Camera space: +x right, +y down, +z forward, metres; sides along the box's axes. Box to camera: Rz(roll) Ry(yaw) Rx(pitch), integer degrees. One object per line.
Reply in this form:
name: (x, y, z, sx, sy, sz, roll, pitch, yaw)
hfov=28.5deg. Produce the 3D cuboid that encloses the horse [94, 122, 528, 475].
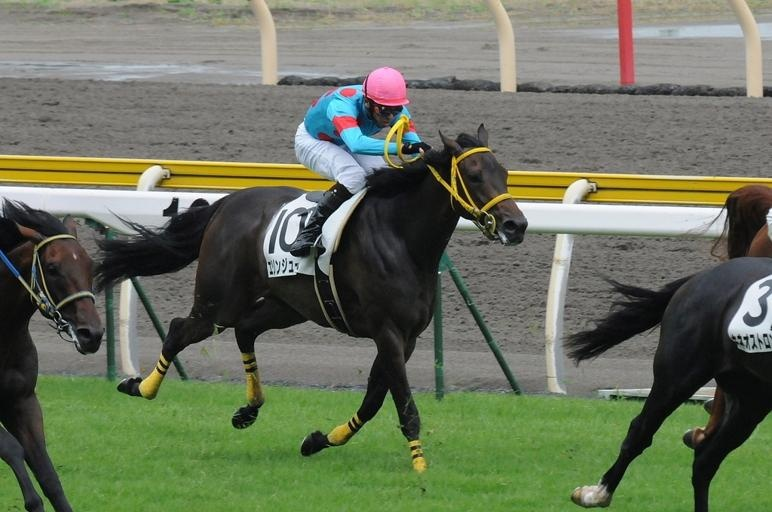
horse: (-0.421, 0.195, 9.805, 2.634, 2.048, 0.853, 3, 15, 25)

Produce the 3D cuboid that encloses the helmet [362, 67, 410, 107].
helmet: (-0.021, -1.084, 9.768, 0.265, 0.148, 0.291, -13, 33, -31)

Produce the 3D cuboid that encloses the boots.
boots: (-0.408, -0.219, 9.687, 0.146, 0.576, 0.206, 48, -2, -16)
